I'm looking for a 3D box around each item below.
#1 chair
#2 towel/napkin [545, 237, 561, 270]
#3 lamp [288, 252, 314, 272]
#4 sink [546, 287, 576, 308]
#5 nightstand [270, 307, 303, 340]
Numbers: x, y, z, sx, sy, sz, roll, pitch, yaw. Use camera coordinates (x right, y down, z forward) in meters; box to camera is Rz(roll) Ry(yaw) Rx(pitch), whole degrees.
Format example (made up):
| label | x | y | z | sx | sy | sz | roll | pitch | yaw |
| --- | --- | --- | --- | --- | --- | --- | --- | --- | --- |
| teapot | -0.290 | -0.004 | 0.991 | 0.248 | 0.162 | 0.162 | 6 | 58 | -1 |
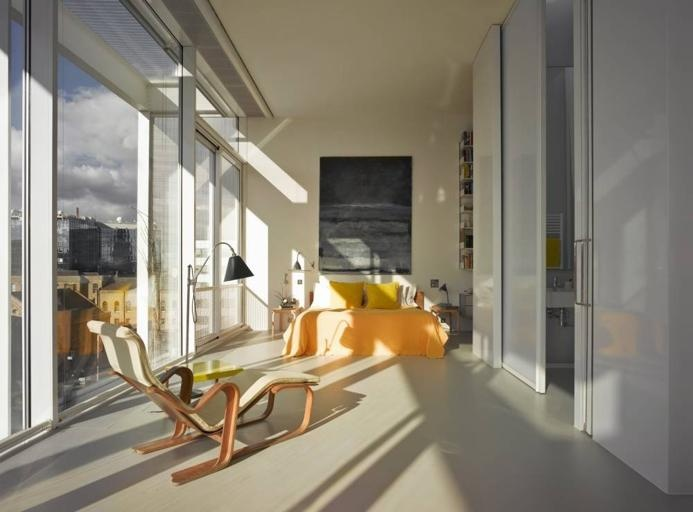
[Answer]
| label | x | y | z | sx | sy | sz | roll | pitch | yaw |
| --- | --- | --- | --- | --- | --- | --- | --- | --- | --- |
| chair | -1.142 | 1.043 | 4.253 | 1.568 | 1.171 | 0.968 | -3 | 0 | -45 |
| towel/napkin | 2.684 | -0.047 | 6.691 | 0.181 | 0.389 | 0.106 | 4 | 10 | 21 |
| lamp | -0.788 | 0.095 | 8.923 | 0.385 | 0.267 | 0.241 | 7 | -7 | -44 |
| sink | 2.447 | 0.514 | 5.934 | 0.296 | 0.262 | 0.218 | 4 | 10 | 22 |
| nightstand | -1.024 | 1.065 | 8.555 | 0.407 | 0.479 | 0.638 | -4 | -19 | -6 |
